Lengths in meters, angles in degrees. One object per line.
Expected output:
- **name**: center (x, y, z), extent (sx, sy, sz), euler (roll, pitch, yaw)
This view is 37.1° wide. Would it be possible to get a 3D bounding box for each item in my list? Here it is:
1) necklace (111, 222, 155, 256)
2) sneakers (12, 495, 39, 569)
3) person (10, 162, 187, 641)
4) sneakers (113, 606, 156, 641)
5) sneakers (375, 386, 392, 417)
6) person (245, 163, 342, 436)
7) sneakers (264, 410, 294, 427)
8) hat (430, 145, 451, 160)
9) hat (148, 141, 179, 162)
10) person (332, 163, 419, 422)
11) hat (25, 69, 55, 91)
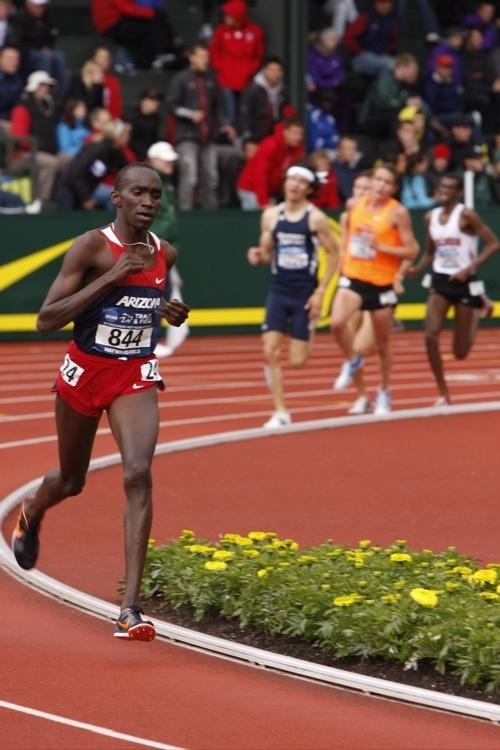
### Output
- **necklace**: center (-0.466, -0.517, 2.915), extent (0.161, 0.040, 0.129), euler (35, 30, 26)
- **sneakers**: center (-0.998, 0.713, 3.418), extent (0.146, 0.319, 0.126), euler (7, 7, 44)
- **person**: center (-0.546, 0.061, 2.868), extent (0.658, 1.727, 1.151), euler (0, 3, -17)
- **sneakers**: center (-0.383, 0.815, 2.452), extent (0.077, 0.080, 0.164), euler (37, -28, -25)
- **sneakers**: center (1.457, 0.322, 8.055), extent (0.144, 0.155, 0.356), euler (3, 50, 13)
- **person**: center (0.439, -0.671, 7.574), extent (0.899, 2.308, 0.657), euler (1, 2, 6)
- **sneakers**: center (0.275, 0.435, 7.314), extent (0.135, 0.100, 0.257), euler (-5, -2, 35)
- **hat**: center (3.828, -4.437, 14.765), extent (0.350, 0.276, 0.331), euler (4, 5, 8)
- **hat**: center (-1.175, -3.013, 10.016), extent (0.351, 0.343, 0.417), euler (0, 2, -9)
- **person**: center (1.374, -0.945, 8.151), extent (0.881, 2.732, 0.812), euler (1, 3, 11)
- **hat**: center (-3.533, -4.949, 12.487), extent (0.488, 0.382, 0.383), euler (0, 2, -9)
